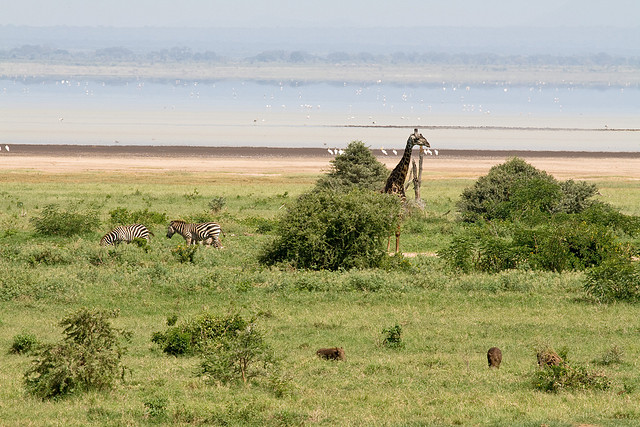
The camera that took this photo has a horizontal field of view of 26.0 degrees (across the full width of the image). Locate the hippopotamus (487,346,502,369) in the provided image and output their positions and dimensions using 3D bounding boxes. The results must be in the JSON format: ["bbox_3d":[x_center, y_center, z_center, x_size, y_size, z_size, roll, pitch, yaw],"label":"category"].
[{"bbox_3d":[25.158,21.311,204.826,1.959,2.912,0.874,3,11,6],"label":"hippopotamus"}]

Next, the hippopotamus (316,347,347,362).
[{"bbox_3d":[1.653,20.870,205.527,4.120,1.962,0.726,3,11,5],"label":"hippopotamus"}]
